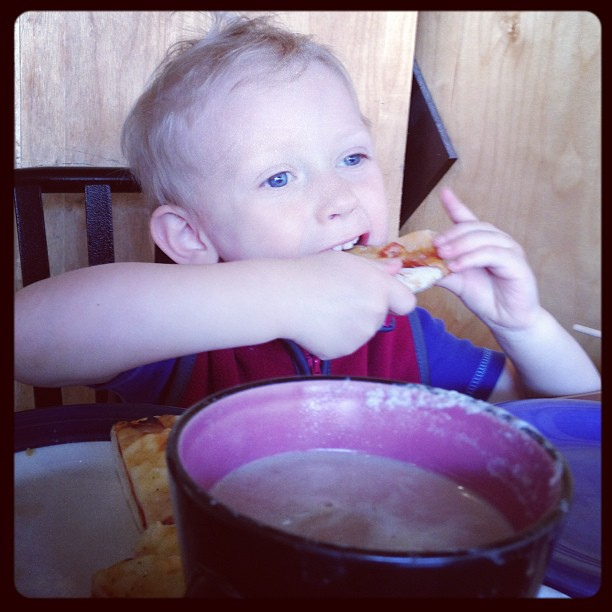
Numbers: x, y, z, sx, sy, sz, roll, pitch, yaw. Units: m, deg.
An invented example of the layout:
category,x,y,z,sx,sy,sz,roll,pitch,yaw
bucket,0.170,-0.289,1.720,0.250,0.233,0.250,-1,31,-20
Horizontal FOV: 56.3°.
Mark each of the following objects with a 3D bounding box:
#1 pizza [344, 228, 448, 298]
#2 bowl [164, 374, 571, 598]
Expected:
category,x,y,z,sx,sy,sz,roll,pitch,yaw
pizza,0.159,-0.071,0.856,0.131,0.029,0.117,4,31,-10
bowl,0.030,0.126,0.371,0.215,0.111,0.184,7,18,12
